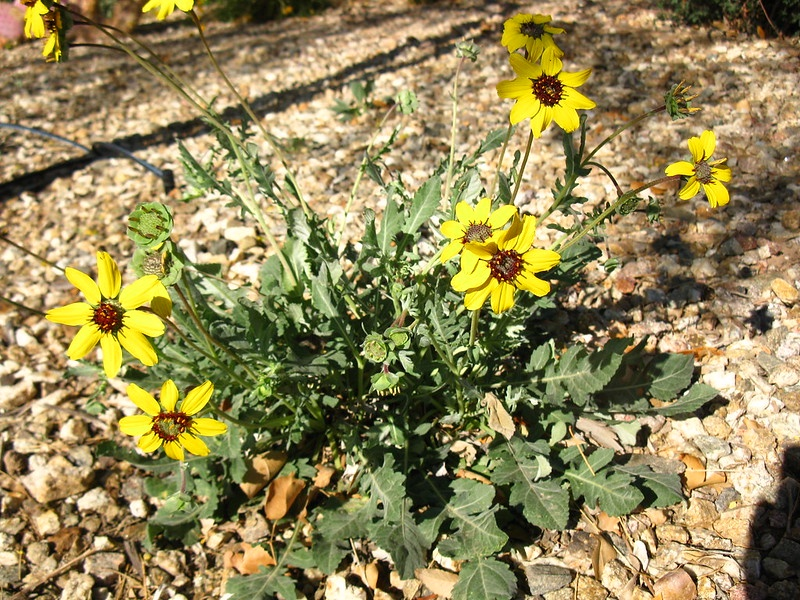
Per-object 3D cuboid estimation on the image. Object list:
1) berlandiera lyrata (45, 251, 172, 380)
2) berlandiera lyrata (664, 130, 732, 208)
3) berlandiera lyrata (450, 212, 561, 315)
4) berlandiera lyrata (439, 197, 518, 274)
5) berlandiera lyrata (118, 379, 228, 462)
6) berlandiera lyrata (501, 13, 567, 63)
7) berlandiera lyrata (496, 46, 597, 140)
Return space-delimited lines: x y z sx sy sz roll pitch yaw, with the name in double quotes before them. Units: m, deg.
"berlandiera lyrata" -1.237 0.088 3.098 0.452 0.151 0.552 12 22 -21
"berlandiera lyrata" 1.419 -0.631 3.434 0.287 0.337 0.115 -18 50 -18
"berlandiera lyrata" 0.441 -0.145 3.059 0.459 0.340 0.222 -16 43 -10
"berlandiera lyrata" 0.325 -0.327 3.219 0.305 0.072 0.322 13 70 30
"berlandiera lyrata" -1.034 0.533 3.159 0.434 0.098 0.415 -12 16 14
"berlandiera lyrata" 0.628 -1.297 3.449 0.309 0.336 0.090 5 72 36
"berlandiera lyrata" 0.664 -0.953 3.316 0.426 0.361 0.455 -1 43 7
